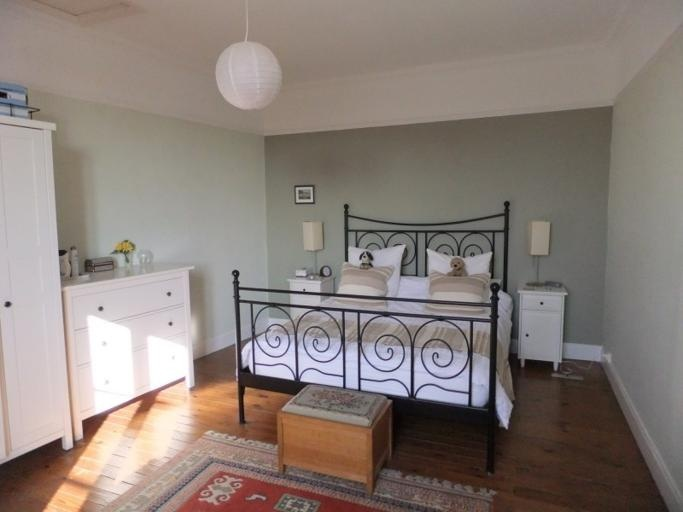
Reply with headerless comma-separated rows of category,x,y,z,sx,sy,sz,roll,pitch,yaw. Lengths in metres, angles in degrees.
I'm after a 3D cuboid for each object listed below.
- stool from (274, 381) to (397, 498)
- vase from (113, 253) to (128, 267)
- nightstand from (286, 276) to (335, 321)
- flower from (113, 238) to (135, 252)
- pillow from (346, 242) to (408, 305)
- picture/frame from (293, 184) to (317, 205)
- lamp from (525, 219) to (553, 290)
stool,-0.058,1.173,3.373,0.799,0.562,0.552,2,6,21
vase,-1.952,0.016,4.513,0.106,0.125,0.125,0,21,-11
nightstand,-0.357,0.427,5.615,0.488,0.708,0.444,0,-1,27
flower,-1.920,-0.086,4.468,0.176,0.113,0.137,-8,16,-25
pillow,0.361,0.185,5.134,0.557,0.574,0.208,-1,-26,31
picture/frame,-0.430,-0.752,6.064,0.227,0.209,0.019,4,11,23
lamp,1.981,-0.053,5.109,0.211,0.640,0.295,5,15,22
